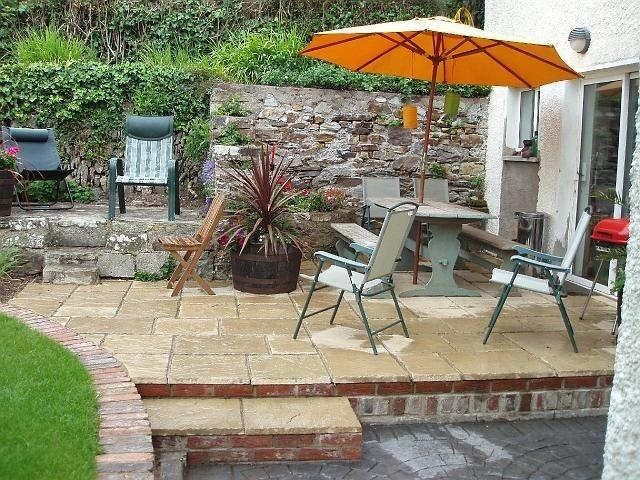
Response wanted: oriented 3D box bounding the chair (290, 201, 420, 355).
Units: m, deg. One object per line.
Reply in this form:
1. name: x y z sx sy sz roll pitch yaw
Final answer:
1. chair: 0.320 0.226 4.337 0.905 1.127 1.258 1 10 1

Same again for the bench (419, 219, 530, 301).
1. bench: 1.611 0.129 5.711 1.036 0.542 1.262 -1 8 -6

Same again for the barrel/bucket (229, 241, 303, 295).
1. barrel/bucket: -0.557 0.296 5.538 0.736 0.330 0.633 1 4 -16

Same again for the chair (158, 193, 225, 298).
1. chair: -1.348 0.032 5.460 0.660 1.019 0.703 -2 11 -14

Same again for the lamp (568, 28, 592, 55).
1. lamp: 2.865 -2.181 5.663 0.155 0.275 0.218 -1 11 -9

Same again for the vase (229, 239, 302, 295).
1. vase: -0.617 0.289 5.508 0.738 0.332 0.631 1 5 -14

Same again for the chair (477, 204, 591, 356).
1. chair: 1.822 0.279 4.282 0.724 1.096 0.849 5 12 23
